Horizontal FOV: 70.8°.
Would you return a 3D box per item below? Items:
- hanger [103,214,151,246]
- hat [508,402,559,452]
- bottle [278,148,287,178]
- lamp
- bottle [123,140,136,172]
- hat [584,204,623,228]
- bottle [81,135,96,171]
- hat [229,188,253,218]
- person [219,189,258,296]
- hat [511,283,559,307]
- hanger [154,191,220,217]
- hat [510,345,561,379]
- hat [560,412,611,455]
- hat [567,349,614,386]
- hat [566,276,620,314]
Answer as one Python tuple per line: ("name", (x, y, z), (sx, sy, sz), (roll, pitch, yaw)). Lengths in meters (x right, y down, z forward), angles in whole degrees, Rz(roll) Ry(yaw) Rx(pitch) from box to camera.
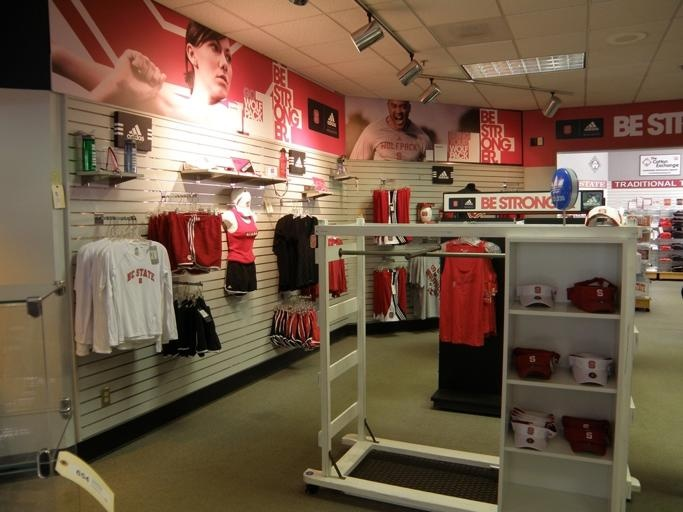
("hanger", (-2.079, -0.286, 4.755), (0.314, 0.259, 0.471), (5, 9, 40))
("hat", (1.411, 1.252, 3.556), (0.322, 0.180, 0.421), (3, 8, 28))
("bottle", (-0.836, -1.306, 6.796), (0.139, 0.447, 0.507), (-1, 6, -7))
("lamp", (2.007, -2.655, 7.423), (2.015, 0.713, 5.943), (4, 8, 34))
("bottle", (-2.059, -0.973, 4.671), (0.097, 0.305, 0.077), (-4, 7, -27))
("hat", (2.264, -0.314, 4.123), (0.300, 0.171, 0.464), (1, -1, 36))
("bottle", (-2.335, -0.939, 4.421), (0.121, 0.331, 0.211), (-4, 7, -27))
("hat", (-1.243, -0.635, 6.191), (0.281, 0.428, 0.420), (-1, 1, 24))
("person", (-1.281, -0.179, 6.060), (0.436, 1.312, 0.316), (-3, 6, -20))
("hat", (1.454, 0.279, 3.580), (0.295, 0.158, 0.227), (1, 7, 14))
("hanger", (-1.753, -0.606, 5.463), (0.186, 0.239, 0.906), (2, 7, 21))
("hat", (1.411, 0.766, 3.475), (0.229, 0.094, 0.237), (-1, 13, 6))
("hat", (1.751, 1.267, 3.419), (0.328, 0.181, 0.257), (2, 7, 20))
("hat", (1.768, 0.790, 3.419), (0.270, 0.169, 0.279), (4, 8, 33))
("hat", (1.787, 0.287, 3.436), (0.328, 0.173, 0.288), (3, 7, 29))
